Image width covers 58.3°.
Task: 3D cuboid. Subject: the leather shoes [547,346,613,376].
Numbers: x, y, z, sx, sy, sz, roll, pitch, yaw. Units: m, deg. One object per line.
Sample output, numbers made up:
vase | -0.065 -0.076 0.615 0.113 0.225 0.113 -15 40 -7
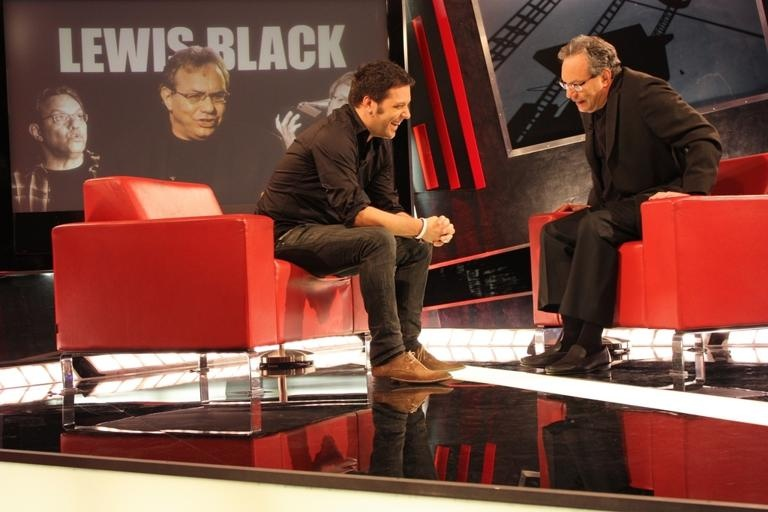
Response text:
leather shoes | 0.913 0.481 3.205 0.295 0.095 0.128 -2 -3 -24

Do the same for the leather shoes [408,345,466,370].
leather shoes | 0.232 0.483 3.261 0.316 0.114 0.098 1 0 -5

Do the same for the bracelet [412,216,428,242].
bracelet | 0.171 -0.121 3.114 0.074 0.080 0.042 -11 12 -33

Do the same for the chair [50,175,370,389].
chair | -0.744 0.063 3.477 1.042 0.838 1.388 -2 0 23

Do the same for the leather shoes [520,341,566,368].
leather shoes | 0.777 0.483 3.292 0.257 0.091 0.086 -1 -3 -5

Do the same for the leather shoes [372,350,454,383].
leather shoes | 0.112 0.503 3.121 0.409 0.161 0.133 1 -7 -3
